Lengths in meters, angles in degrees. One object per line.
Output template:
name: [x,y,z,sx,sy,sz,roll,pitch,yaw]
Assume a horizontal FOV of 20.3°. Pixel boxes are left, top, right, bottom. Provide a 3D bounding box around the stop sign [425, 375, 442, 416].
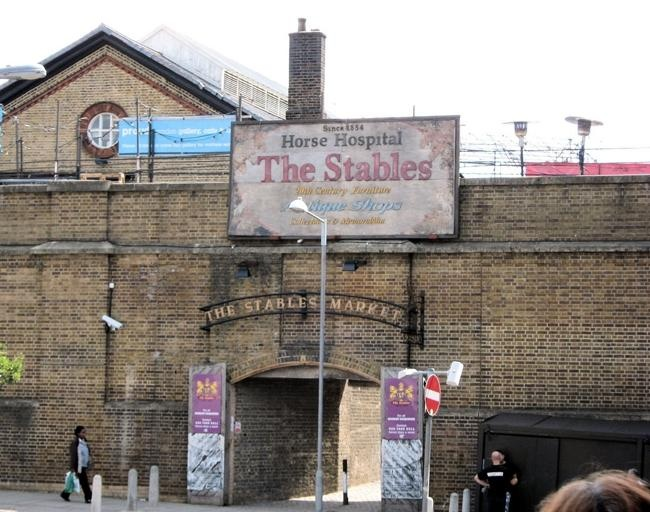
stop sign: [2.873,3.744,48.464,0.365,1.137,0.623,1,-8,0]
